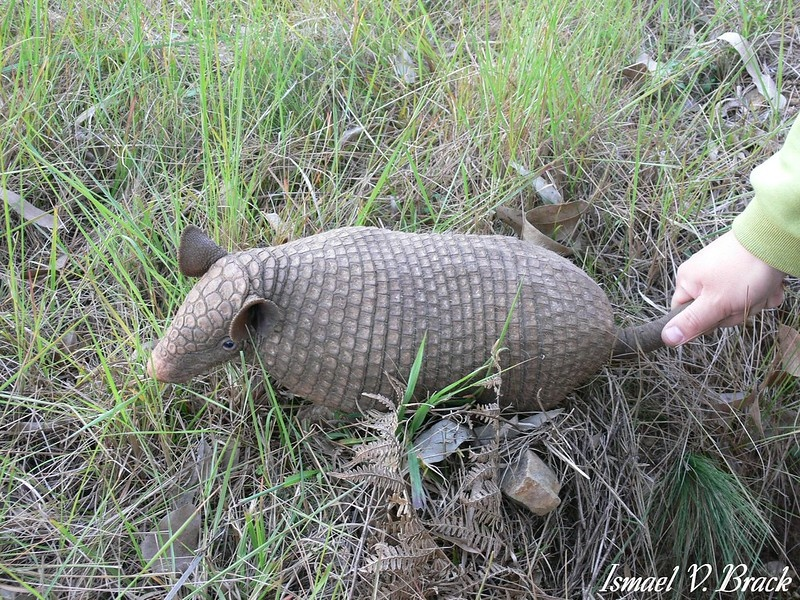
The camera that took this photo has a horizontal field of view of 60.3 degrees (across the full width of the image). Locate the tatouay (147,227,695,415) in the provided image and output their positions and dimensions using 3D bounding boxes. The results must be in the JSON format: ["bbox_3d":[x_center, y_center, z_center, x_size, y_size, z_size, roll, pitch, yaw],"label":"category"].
[{"bbox_3d":[0.100,0.063,1.936,1.378,0.564,0.492,-7,26,-5],"label":"tatouay"}]
